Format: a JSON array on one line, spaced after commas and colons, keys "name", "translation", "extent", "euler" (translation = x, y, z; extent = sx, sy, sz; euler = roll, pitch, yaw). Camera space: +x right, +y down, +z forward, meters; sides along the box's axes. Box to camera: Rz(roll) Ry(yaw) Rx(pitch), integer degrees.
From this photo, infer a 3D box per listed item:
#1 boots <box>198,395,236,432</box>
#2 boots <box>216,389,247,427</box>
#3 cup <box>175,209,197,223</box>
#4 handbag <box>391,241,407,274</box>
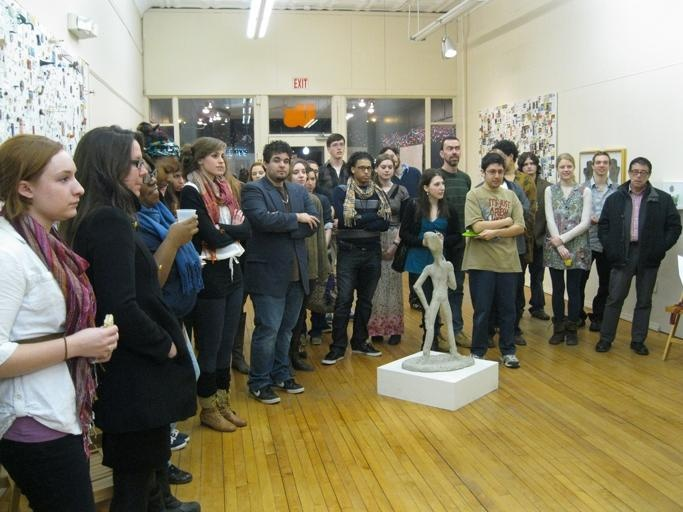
[{"name": "boots", "translation": [-0.893, 1.112, 3.620], "extent": [0.300, 0.234, 0.113], "euler": [9, 11, 21]}, {"name": "boots", "translation": [-0.813, 1.100, 3.689], "extent": [0.312, 0.237, 0.110], "euler": [1, 1, 34]}, {"name": "cup", "translation": [-0.729, -0.186, 2.379], "extent": [0.093, 0.074, 0.095], "euler": [1, 1, 0]}, {"name": "handbag", "translation": [0.565, 0.003, 5.011], "extent": [0.131, 0.342, 0.256], "euler": [12, 5, -5]}]
